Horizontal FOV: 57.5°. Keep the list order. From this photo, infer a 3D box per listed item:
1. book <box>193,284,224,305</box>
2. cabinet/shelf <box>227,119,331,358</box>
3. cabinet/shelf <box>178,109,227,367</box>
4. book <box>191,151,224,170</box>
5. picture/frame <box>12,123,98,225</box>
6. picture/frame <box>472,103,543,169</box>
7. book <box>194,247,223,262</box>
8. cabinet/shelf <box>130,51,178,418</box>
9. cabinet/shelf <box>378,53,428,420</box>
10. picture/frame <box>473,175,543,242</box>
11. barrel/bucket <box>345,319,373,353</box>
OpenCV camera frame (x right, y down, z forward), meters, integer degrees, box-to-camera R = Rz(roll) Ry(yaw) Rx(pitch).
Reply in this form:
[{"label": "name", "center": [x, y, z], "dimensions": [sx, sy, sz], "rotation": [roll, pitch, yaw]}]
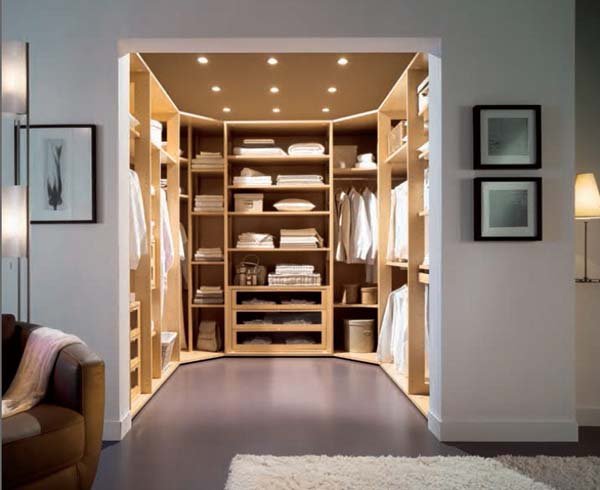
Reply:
[{"label": "book", "center": [-0.960, 0.520, 5.766], "dimensions": [0.325, 0.167, 0.179], "rotation": [0, 5, 0]}, {"label": "cabinet/shelf", "center": [-0.214, -0.111, 5.989], "dimensions": [1.197, 2.379, 0.936], "rotation": [0, 5, 3]}, {"label": "cabinet/shelf", "center": [-0.995, -0.034, 6.014], "dimensions": [0.363, 2.431, 0.301], "rotation": [0, 10, -6]}, {"label": "book", "center": [-0.982, -0.882, 5.765], "dimensions": [0.230, 0.109, 0.218], "rotation": [0, 2, -4]}, {"label": "picture/frame", "center": [-1.614, -0.472, 3.675], "dimensions": [0.448, 0.650, 0.023], "rotation": [-1, 0, -2]}, {"label": "picture/frame", "center": [1.380, -0.725, 3.666], "dimensions": [0.395, 0.406, 0.045], "rotation": [0, -1, -3]}, {"label": "book", "center": [-0.960, 0.099, 5.812], "dimensions": [0.296, 0.124, 0.196], "rotation": [-1, 5, -9]}, {"label": "cabinet/shelf", "center": [-1.236, -0.156, 4.676], "dimensions": [0.372, 2.649, 1.525], "rotation": [-1, 5, -9]}, {"label": "cabinet/shelf", "center": [0.872, -0.165, 4.743], "dimensions": [0.407, 2.698, 1.537], "rotation": [1, 5, 7]}, {"label": "picture/frame", "center": [1.397, -0.241, 3.678], "dimensions": [0.404, 0.427, 0.031], "rotation": [0, -11, 18]}, {"label": "barrel/bucket", "center": [0.620, 0.950, 5.792], "dimensions": [0.287, 0.323, 0.303], "rotation": [0, -3, 0]}]
